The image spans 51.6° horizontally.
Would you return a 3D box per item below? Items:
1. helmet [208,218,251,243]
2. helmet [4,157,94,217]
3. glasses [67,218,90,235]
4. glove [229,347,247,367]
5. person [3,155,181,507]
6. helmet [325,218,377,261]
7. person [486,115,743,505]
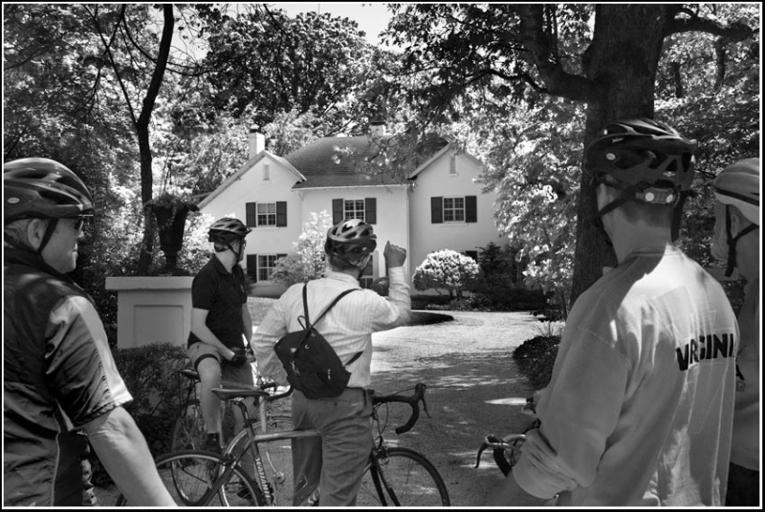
[{"bbox_3d":[-1.464,-0.238,7.681,0.345,0.143,0.254,4,-5,-28],"label":"helmet"},{"bbox_3d":[-2.020,-0.400,4.787,0.473,0.302,0.328,-3,1,-27],"label":"helmet"},{"bbox_3d":[-1.894,-0.183,4.896,0.085,0.083,0.145,-5,-1,-23],"label":"glasses"},{"bbox_3d":[-1.350,0.962,7.471,0.128,0.182,0.080,7,-9,6],"label":"glove"},{"bbox_3d":[-1.850,0.468,4.733,0.883,2.134,0.398,1,-1,-11],"label":"person"},{"bbox_3d":[-0.222,-0.161,6.324,0.290,0.301,0.376,14,27,29],"label":"helmet"},{"bbox_3d":[1.443,0.330,4.620,1.306,2.262,0.330,1,-1,-12],"label":"person"}]
